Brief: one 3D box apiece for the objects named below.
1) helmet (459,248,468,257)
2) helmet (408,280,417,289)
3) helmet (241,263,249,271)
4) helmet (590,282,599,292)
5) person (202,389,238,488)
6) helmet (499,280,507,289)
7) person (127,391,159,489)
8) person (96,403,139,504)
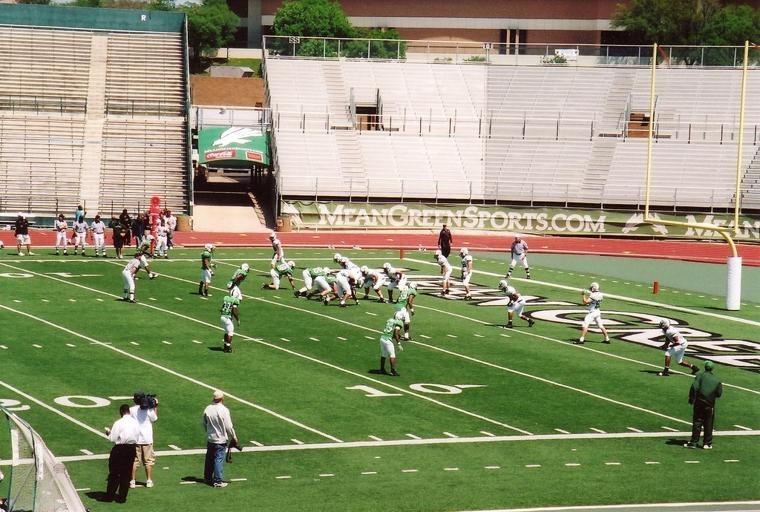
[{"bbox_3d":[4.058,-0.197,68.119,0.355,0.395,0.418,-18,-1,8],"label":"helmet"},{"bbox_3d":[1.530,1.305,62.310,0.263,0.295,0.352,-39,-34,21],"label":"helmet"},{"bbox_3d":[-6.178,0.525,64.046,0.320,0.328,0.364,1,13,-4],"label":"helmet"},{"bbox_3d":[9.741,1.393,62.260,0.499,0.432,0.404,0,4,-6],"label":"helmet"},{"bbox_3d":[-5.786,6.590,50.237,1.094,3.410,0.811,-1,8,-7],"label":"person"},{"bbox_3d":[5.659,1.304,63.490,0.306,0.344,0.364,-6,6,1],"label":"helmet"},{"bbox_3d":[-8.494,6.527,50.148,1.082,2.993,1.357,-6,12,-34],"label":"person"},{"bbox_3d":[-9.149,7.013,49.308,0.932,3.306,1.078,2,8,14],"label":"person"}]
